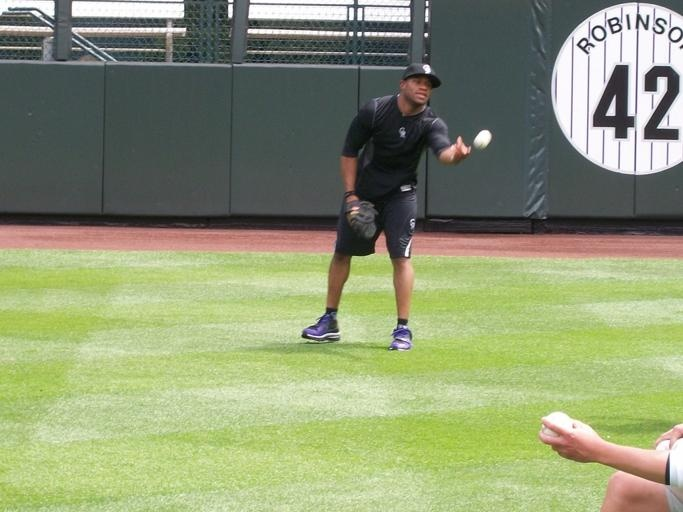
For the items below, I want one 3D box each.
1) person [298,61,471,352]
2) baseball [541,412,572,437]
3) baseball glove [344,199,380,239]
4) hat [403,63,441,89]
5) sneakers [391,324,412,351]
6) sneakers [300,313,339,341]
[{"bbox_3d":[0.386,-0.449,10.770,1.222,2.428,0.932,5,14,14],"label":"person"},{"bbox_3d":[1.297,1.008,7.425,0.148,0.072,0.147,14,45,38],"label":"baseball"},{"bbox_3d":[0.185,-0.322,10.636,0.276,0.329,0.151,7,-39,-6],"label":"baseball glove"},{"bbox_3d":[0.666,-1.568,10.625,0.233,0.137,0.299,17,-3,-24],"label":"hat"},{"bbox_3d":[0.529,0.694,10.664,0.201,0.199,0.267,2,14,3],"label":"sneakers"},{"bbox_3d":[-0.155,0.649,10.908,0.393,0.221,0.177,6,0,-16],"label":"sneakers"}]
